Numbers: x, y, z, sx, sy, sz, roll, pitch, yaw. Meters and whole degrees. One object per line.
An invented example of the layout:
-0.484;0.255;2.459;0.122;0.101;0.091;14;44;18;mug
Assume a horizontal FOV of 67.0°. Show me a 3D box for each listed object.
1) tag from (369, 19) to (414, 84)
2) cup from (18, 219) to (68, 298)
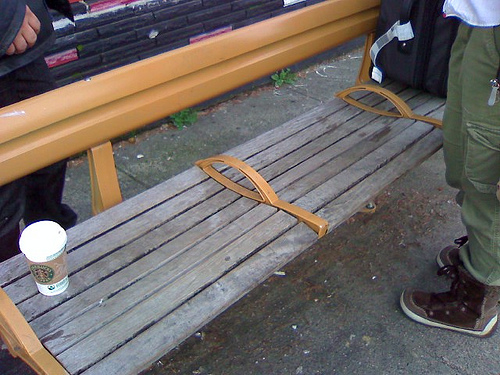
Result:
0.924;-0.889;2.457;0.127;0.306;0.332;30;36;10;tag
-0.695;0.271;1.295;0.144;0.181;0.135;-1;11;0;cup
